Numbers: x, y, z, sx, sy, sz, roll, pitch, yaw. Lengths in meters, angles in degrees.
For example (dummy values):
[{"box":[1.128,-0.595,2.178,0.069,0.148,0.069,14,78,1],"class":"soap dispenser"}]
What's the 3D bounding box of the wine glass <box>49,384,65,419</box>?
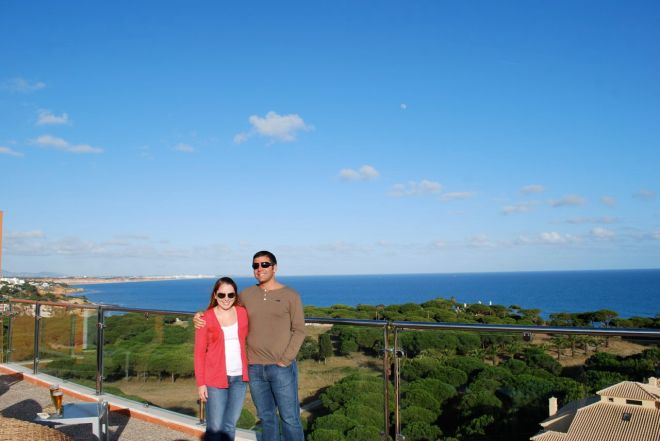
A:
[{"box":[-3.457,2.267,6.285,0.151,0.321,0.325,2,-5,-29],"class":"wine glass"}]
